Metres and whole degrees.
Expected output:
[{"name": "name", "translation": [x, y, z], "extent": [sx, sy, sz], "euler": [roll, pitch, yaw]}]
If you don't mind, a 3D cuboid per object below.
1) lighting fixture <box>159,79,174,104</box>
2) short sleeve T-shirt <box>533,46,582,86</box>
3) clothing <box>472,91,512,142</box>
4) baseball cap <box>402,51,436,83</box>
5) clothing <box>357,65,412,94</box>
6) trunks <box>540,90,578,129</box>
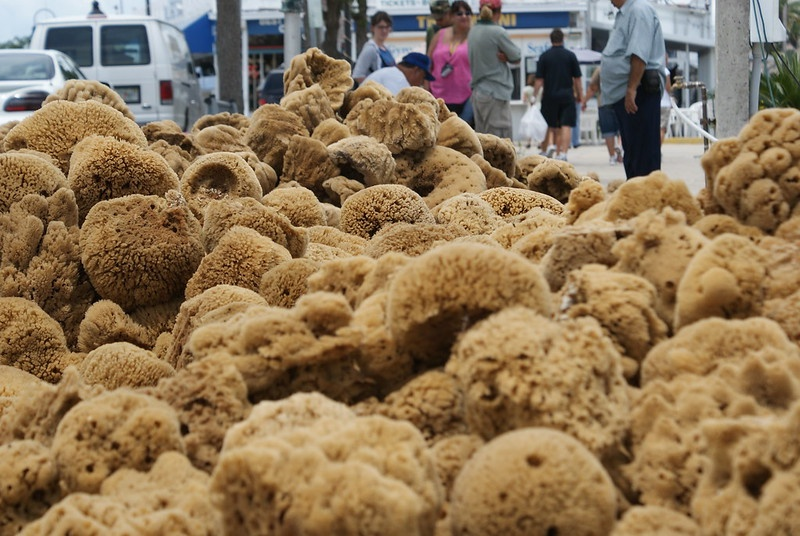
[{"name": "lighting fixture", "translation": [-3.146, -2.369, 21.436], "extent": [0.236, 0.506, 0.259], "euler": [1, 2, -9]}, {"name": "short sleeve T-shirt", "translation": [1.863, -2.477, 19.396], "extent": [0.676, 0.669, 0.394], "euler": [2, 24, 8]}, {"name": "clothing", "translation": [0.914, -1.566, 16.366], "extent": [0.319, 0.634, 0.448], "euler": [-17, 26, -31]}, {"name": "baseball cap", "translation": [0.164, -2.164, 17.082], "extent": [0.325, 0.187, 0.226], "euler": [7, 18, -44]}, {"name": "clothing", "translation": [-0.178, -2.020, 16.722], "extent": [0.430, 0.163, 0.503], "euler": [25, 36, 15]}, {"name": "trunks", "translation": [1.957, -1.996, 19.906], "extent": [0.525, 0.570, 0.350], "euler": [6, 30, 21]}]
